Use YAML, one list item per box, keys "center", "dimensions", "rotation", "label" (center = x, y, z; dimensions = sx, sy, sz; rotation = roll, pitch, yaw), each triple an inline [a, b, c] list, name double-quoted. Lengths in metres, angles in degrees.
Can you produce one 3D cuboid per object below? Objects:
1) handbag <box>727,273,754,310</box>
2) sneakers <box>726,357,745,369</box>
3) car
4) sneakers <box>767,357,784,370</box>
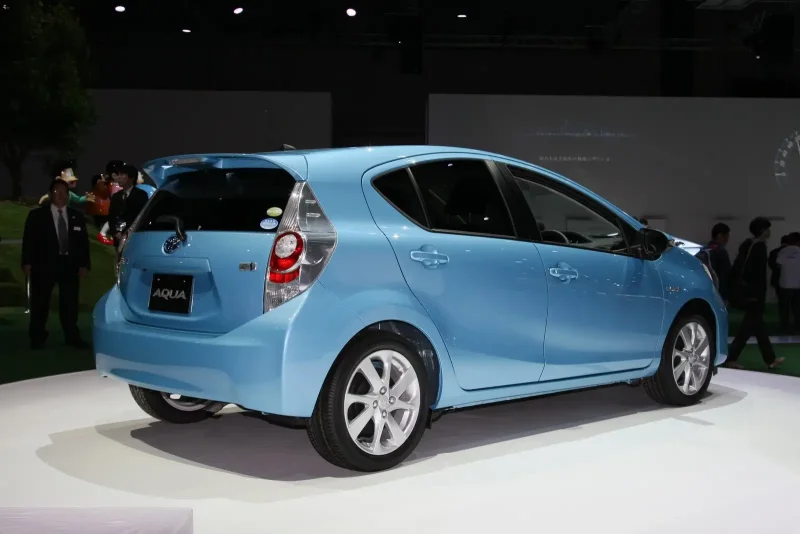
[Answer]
- center: [4.596, 0.315, 6.959]
  dimensions: [0.294, 0.487, 0.218]
  rotation: [1, 1, 33]
  label: "handbag"
- center: [4.590, 1.306, 7.009]
  dimensions: [0.344, 0.142, 0.115]
  rotation: [-2, 3, -34]
  label: "sneakers"
- center: [0.229, 0.192, 3.847]
  dimensions: [4.135, 2.156, 1.121]
  rotation: [0, 1, -29]
  label: "car"
- center: [5.294, 1.316, 7.218]
  dimensions: [0.128, 0.159, 0.387]
  rotation: [-6, 9, 46]
  label: "sneakers"
